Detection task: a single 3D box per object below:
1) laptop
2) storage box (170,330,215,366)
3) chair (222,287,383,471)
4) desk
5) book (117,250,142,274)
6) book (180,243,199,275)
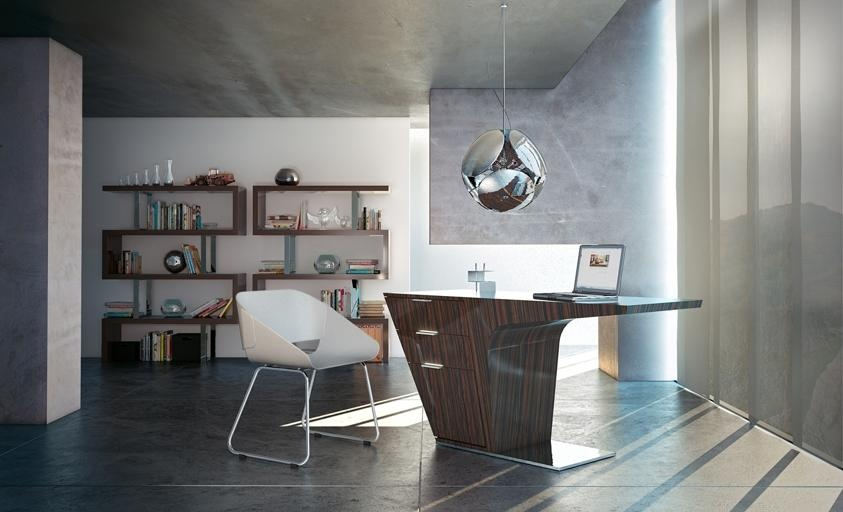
[{"bbox_3d":[1.173,0.112,4.713,0.573,0.386,0.615,-4,2,-8],"label":"laptop"},{"bbox_3d":[-2.954,1.178,8.012,0.652,0.403,0.346,0,-7,-6],"label":"storage box"},{"bbox_3d":[-0.905,0.890,5.006,1.324,1.445,1.215,1,-3,1],"label":"chair"},{"bbox_3d":[0.836,0.942,4.884,0.922,1.217,2.362,-1,-1,-41],"label":"desk"},{"bbox_3d":[-3.772,0.108,8.154,0.399,0.352,0.281,2,-2,-13],"label":"book"},{"bbox_3d":[-2.972,0.036,8.043,0.081,0.314,0.331,-6,2,-6],"label":"book"}]
